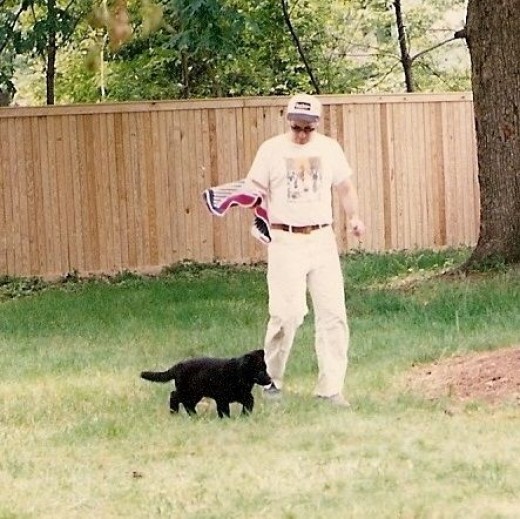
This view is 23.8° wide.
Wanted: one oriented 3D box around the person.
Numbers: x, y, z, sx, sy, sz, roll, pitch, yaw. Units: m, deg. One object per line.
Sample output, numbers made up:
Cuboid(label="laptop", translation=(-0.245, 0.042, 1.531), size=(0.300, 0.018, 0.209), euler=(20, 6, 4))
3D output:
Cuboid(label="person", translation=(0.325, -0.098, 10.824), size=(1.157, 2.672, 0.557), euler=(-1, 11, 4))

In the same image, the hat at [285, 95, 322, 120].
Cuboid(label="hat", translation=(0.374, -1.300, 10.561), size=(0.276, 0.214, 0.191), euler=(-2, 12, 1))

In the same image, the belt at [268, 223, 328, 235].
Cuboid(label="belt", translation=(0.349, -0.269, 10.695), size=(0.505, 0.094, 0.106), euler=(-3, 13, -2))
